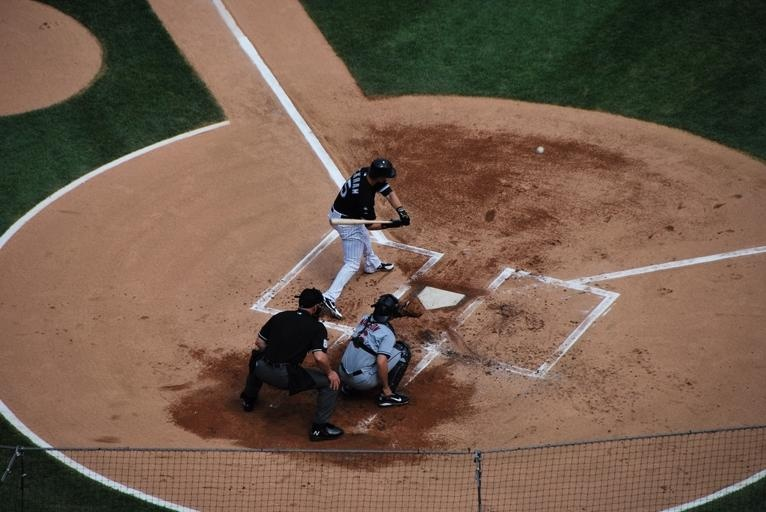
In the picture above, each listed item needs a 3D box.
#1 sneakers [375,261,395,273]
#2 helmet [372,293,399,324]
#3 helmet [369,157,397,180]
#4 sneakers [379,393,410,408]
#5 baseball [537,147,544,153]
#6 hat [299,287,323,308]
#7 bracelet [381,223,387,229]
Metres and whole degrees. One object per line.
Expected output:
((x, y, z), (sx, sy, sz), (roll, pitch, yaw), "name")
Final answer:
((0.027, 0.232, 25.181), (0.441, 0.165, 0.151), (-5, 35, 1), "sneakers")
((0.049, 0.970, 22.705), (0.401, 0.255, 0.545), (20, 57, 9), "helmet")
((0.026, -1.712, 24.083), (0.582, 0.343, 0.364), (-10, 62, -22), "helmet")
((0.181, 2.747, 22.961), (0.659, 0.262, 0.212), (-3, 28, -1), "sneakers")
((3.490, -2.359, 27.037), (0.166, 0.171, 0.061), (0, -10, 5), "baseball")
((-1.407, 0.776, 22.531), (0.446, 0.314, 0.280), (8, 43, -30), "hat")
((-0.007, -0.615, 24.574), (0.094, 0.077, 0.019), (9, 52, -7), "bracelet")
